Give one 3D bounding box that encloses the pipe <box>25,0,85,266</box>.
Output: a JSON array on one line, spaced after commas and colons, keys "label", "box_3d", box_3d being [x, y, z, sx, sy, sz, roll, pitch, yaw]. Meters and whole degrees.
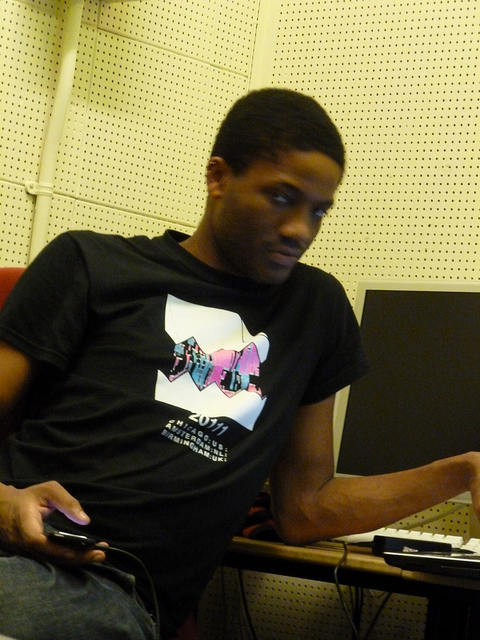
[{"label": "pipe", "box_3d": [-0.493, -0.508, 1.450, 0.067, 0.648, 0.150, 13, 3, -43]}]
